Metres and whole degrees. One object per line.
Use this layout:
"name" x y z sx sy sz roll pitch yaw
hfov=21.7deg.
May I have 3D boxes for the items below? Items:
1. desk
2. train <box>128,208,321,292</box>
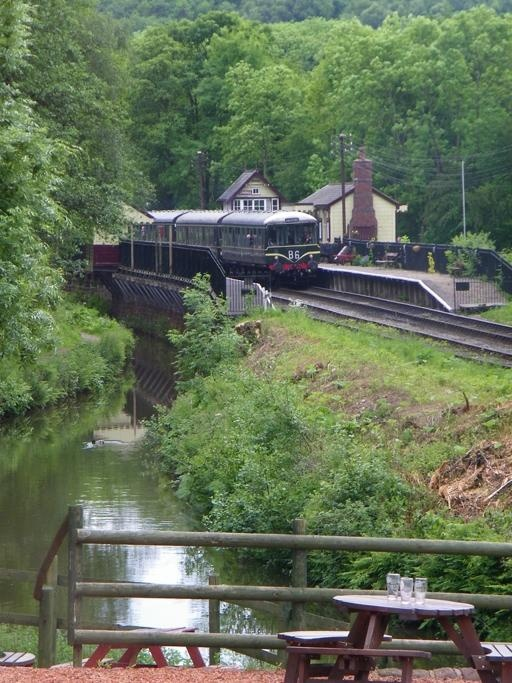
"desk" 1.295 2.406 10.724 1.314 0.659 0.537 1 5 4
"train" -1.116 -3.979 54.390 2.591 3.668 18.184 -1 5 -21
